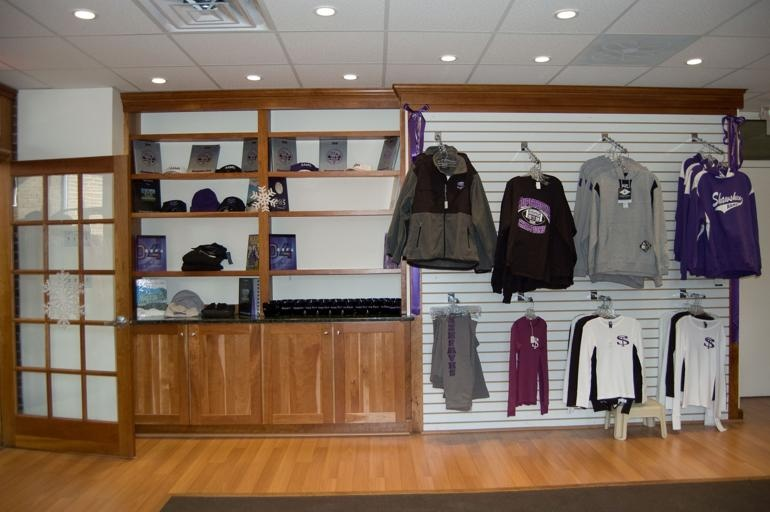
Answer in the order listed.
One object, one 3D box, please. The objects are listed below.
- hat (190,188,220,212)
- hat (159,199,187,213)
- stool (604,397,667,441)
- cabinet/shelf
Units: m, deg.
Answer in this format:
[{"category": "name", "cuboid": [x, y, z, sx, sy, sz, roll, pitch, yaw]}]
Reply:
[{"category": "hat", "cuboid": [-2.067, -0.623, 7.075, 0.251, 0.295, 0.119, -12, -10, 5]}, {"category": "hat", "cuboid": [-2.407, -0.558, 7.049, 0.171, 0.100, 0.210, 2, -3, -12]}, {"category": "stool", "cuboid": [2.692, 1.707, 6.612, 0.520, 0.247, 0.493, -2, -7, -6]}, {"category": "cabinet/shelf", "cuboid": [-1.300, 0.132, 6.861, 4.343, 4.210, 1.180, -1, -8, -2]}]
